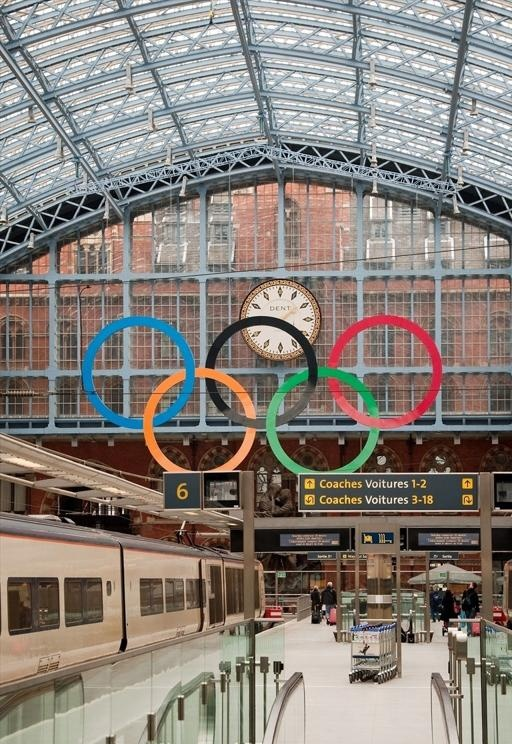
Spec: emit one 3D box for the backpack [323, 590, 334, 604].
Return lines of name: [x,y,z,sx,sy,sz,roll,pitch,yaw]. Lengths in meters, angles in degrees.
backpack: [2.696,8.337,44.372,0.445,0.589,1.099,-3,-10,3]

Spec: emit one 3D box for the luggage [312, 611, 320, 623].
luggage: [2.284,9.456,46.084,0.328,0.468,0.662,-2,-10,1]

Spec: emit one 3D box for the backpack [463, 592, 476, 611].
backpack: [5.944,6.410,33.378,0.317,0.457,0.460,2,-10,2]
